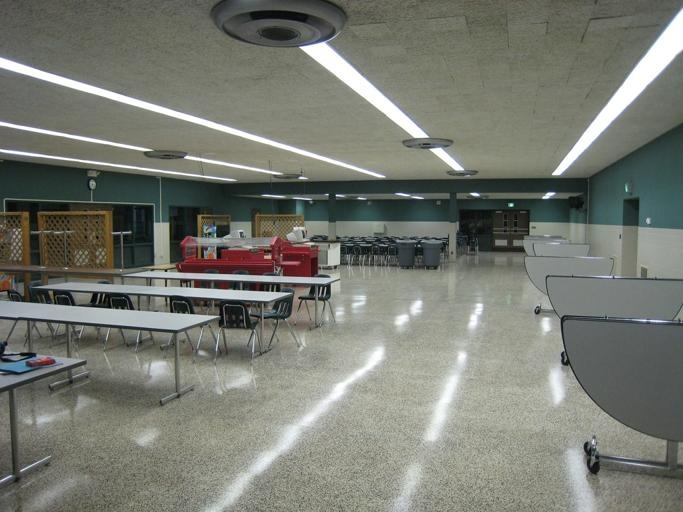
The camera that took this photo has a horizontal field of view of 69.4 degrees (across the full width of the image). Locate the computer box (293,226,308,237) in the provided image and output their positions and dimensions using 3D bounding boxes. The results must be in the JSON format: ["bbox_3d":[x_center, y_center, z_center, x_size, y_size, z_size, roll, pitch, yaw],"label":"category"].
[{"bbox_3d":[-1.043,-0.591,11.856,0.333,0.366,0.436,-3,4,8],"label":"computer box"}]

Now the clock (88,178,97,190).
[{"bbox_3d":[-6.083,-1.757,12.071,0.049,0.201,0.212,4,-2,33],"label":"clock"}]

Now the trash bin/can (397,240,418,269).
[{"bbox_3d":[1.926,-0.037,14.758,0.532,0.809,0.467,0,10,6],"label":"trash bin/can"}]

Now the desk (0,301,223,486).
[{"bbox_3d":[-2.415,0.901,4.995,2.283,0.683,0.697,3,10,20],"label":"desk"}]

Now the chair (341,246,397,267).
[{"bbox_3d":[0.906,-0.108,16.939,1.842,0.807,2.840,-1,8,0],"label":"chair"}]

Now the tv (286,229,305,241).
[{"bbox_3d":[-1.103,-0.473,11.703,0.345,0.252,0.345,-1,2,7],"label":"tv"}]

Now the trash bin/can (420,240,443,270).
[{"bbox_3d":[2.619,-0.036,14.476,0.542,0.798,0.577,1,10,8],"label":"trash bin/can"}]
